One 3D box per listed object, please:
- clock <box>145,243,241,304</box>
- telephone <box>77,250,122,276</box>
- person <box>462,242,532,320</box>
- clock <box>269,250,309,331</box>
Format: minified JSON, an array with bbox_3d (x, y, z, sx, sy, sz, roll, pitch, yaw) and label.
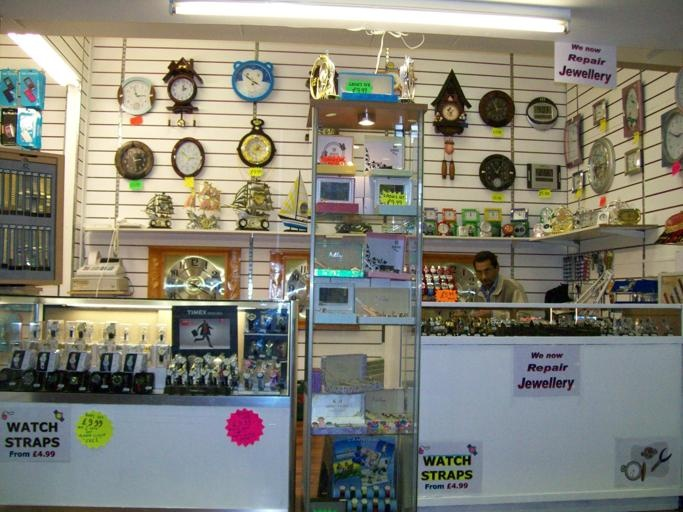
[{"bbox_3d":[-1.579,0.180,8.112,0.579,0.570,0.048,0,-3,-4],"label":"clock"},{"bbox_3d":[-2.489,0.043,8.055,0.304,0.204,0.312,-1,1,-3],"label":"telephone"},{"bbox_3d":[1.420,0.242,6.829,0.507,0.823,0.697,-4,-5,-23],"label":"person"},{"bbox_3d":[-0.566,0.198,8.352,0.457,0.530,0.358,-1,-9,9],"label":"clock"}]
